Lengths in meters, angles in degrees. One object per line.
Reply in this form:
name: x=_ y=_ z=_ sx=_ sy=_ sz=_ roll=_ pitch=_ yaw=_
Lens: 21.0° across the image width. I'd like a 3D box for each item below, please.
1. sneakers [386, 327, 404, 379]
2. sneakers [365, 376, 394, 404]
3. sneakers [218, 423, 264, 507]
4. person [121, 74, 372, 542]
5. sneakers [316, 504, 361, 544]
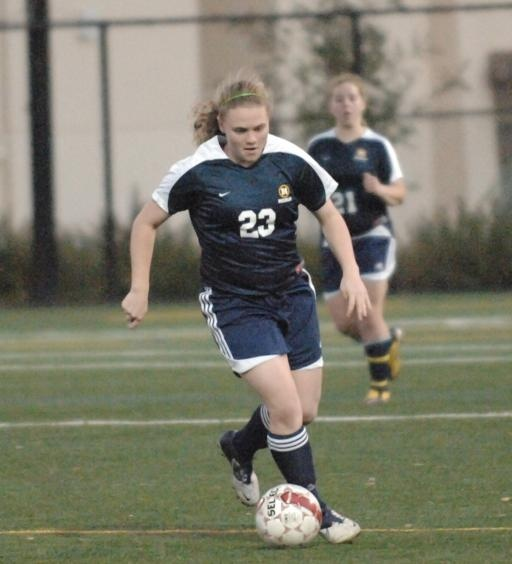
sneakers: x=0.788 y=0.393 z=7.746 sx=0.094 sy=0.274 sz=0.120 roll=1 pitch=17 yaw=15
sneakers: x=0.680 y=0.590 z=7.576 sx=0.184 sy=0.172 sz=0.084 roll=-2 pitch=4 yaw=-16
sneakers: x=-0.074 y=0.797 z=5.995 sx=0.122 sy=0.351 sz=0.157 roll=-19 pitch=-5 yaw=-5
person: x=-0.022 y=0.084 z=5.753 sx=0.979 sy=1.840 sz=0.560 roll=1 pitch=11 yaw=11
sneakers: x=0.333 y=0.978 z=5.571 sx=0.197 sy=0.089 sz=0.086 roll=-6 pitch=2 yaw=40
